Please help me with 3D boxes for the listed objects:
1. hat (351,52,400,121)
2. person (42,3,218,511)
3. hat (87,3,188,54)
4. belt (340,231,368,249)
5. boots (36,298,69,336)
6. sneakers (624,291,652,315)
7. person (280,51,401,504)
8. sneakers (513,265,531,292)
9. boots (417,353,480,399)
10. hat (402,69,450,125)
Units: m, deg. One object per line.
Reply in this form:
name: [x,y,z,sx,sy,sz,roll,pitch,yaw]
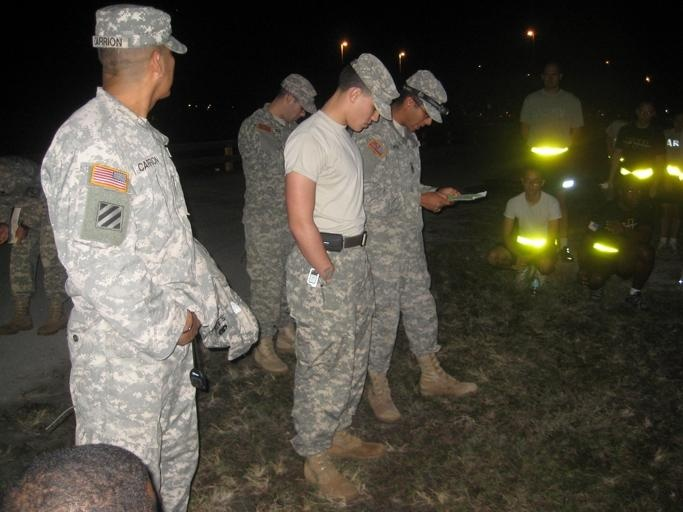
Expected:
hat: [0.194,-1.027,3.326,0.280,0.368,0.288,2,13,0]
person: [-0.950,0.140,2.559,0.715,2.544,0.661,-5,15,-31]
hat: [-0.956,-1.020,2.544,0.352,0.167,0.256,-7,24,-23]
belt: [0.069,-0.123,3.334,0.134,0.085,0.121,-5,10,-17]
boots: [-2.764,0.561,5.203,0.163,0.347,0.369,5,13,8]
sneakers: [3.090,0.476,5.655,0.269,0.126,0.203,7,13,-8]
person: [-0.021,0.168,3.367,0.674,2.743,0.469,-7,15,-35]
sneakers: [2.090,0.241,6.257,0.080,0.298,0.166,11,20,-22]
boots: [0.790,0.944,4.449,0.605,0.428,0.229,-3,8,-3]
hat: [0.609,-1.153,3.953,0.319,0.349,0.274,4,13,8]
